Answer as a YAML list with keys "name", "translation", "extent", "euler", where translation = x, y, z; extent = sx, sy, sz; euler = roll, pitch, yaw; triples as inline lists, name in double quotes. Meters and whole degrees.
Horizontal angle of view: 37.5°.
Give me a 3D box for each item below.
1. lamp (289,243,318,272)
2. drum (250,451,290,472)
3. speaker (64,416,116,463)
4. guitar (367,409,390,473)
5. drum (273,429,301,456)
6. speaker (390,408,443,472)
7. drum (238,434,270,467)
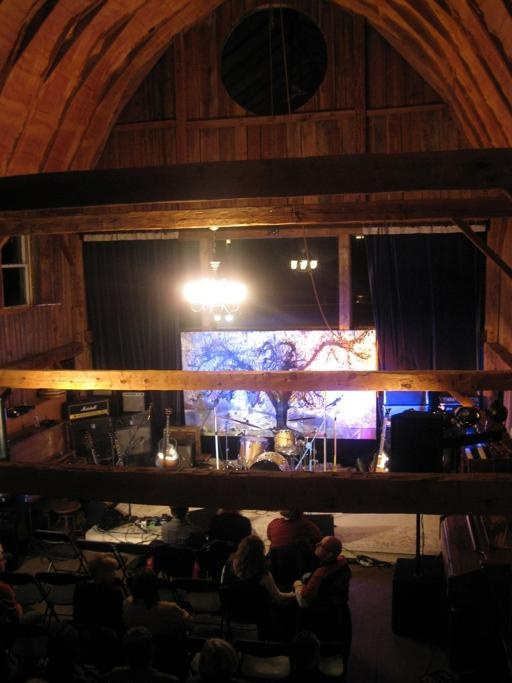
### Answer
- name: "lamp"
  translation: [0.670, -1.180, 10.496]
  extent: [0.461, 0.426, 0.448]
  euler: [2, 7, 7]
- name: "drum"
  translation: [0.166, 1.421, 9.090]
  extent: [0.421, 0.158, 0.412]
  euler: [7, -14, 2]
- name: "speaker"
  translation: [-2.236, 1.327, 10.240]
  extent: [0.623, 0.570, 0.340]
  euler: [-5, 2, -42]
- name: "guitar"
  translation: [1.593, 1.266, 9.854]
  extent: [0.151, 0.205, 1.055]
  euler: [25, 24, 3]
- name: "drum"
  translation: [0.386, 1.309, 9.782]
  extent: [0.318, 0.326, 0.320]
  euler: [0, -6, -5]
- name: "speaker"
  translation: [1.186, 0.760, 5.635]
  extent: [0.396, 0.430, 0.244]
  euler: [6, 11, 10]
- name: "drum"
  translation: [-0.048, 1.440, 9.937]
  extent: [0.349, 0.333, 0.349]
  euler: [17, -5, 33]
